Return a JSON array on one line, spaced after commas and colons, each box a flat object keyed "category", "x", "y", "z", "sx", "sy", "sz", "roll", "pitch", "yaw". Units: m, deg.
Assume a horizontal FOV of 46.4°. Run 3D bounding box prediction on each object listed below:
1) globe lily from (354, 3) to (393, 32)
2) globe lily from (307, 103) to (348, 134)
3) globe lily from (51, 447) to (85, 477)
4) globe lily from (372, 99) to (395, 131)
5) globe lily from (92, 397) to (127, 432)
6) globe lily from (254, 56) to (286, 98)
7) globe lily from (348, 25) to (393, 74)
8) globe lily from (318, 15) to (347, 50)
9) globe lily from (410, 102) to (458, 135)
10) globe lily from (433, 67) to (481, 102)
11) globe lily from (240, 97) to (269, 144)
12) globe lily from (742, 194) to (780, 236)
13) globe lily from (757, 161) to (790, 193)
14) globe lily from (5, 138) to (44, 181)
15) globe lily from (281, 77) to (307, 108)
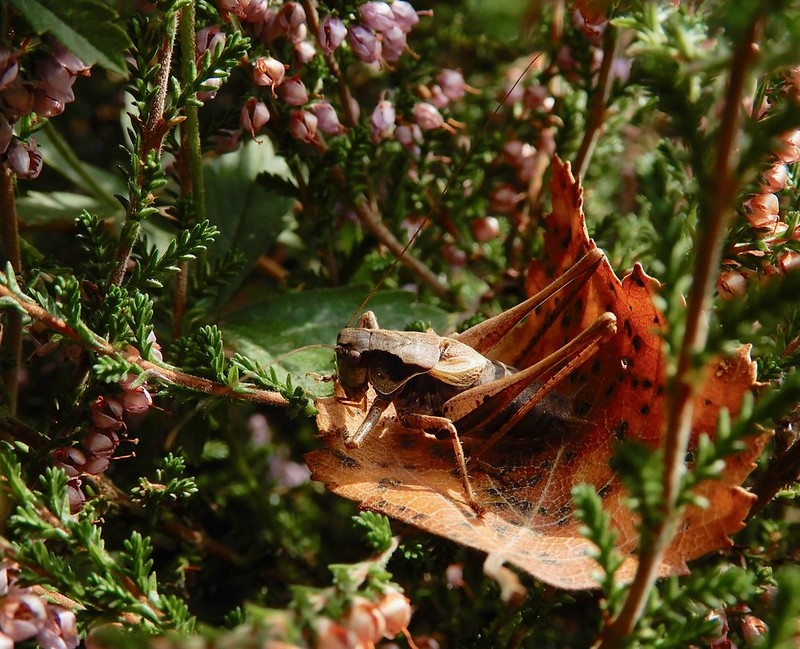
[{"category": "globe lily", "x": -0.049, "y": -0.612, "z": 1.845, "sx": 0.079, "sy": 0.056, "sz": 0.034, "roll": 11, "pitch": 21, "yaw": -17}, {"category": "globe lily", "x": -0.156, "y": -0.430, "z": 1.937, "sx": 0.066, "sy": 0.031, "sz": 0.049, "roll": 29, "pitch": 38, "yaw": -23}, {"category": "globe lily", "x": -0.576, "y": 0.235, "z": 1.614, "sx": 0.045, "sy": 0.042, "sz": 0.047, "roll": 32, "pitch": 25, "yaw": 34}, {"category": "globe lily", "x": -0.039, "y": -0.446, "z": 1.988, "sx": 0.052, "sy": 0.063, "sz": 0.032, "roll": 21, "pitch": -13, "yaw": 1}, {"category": "globe lily", "x": -0.513, "y": 0.159, "z": 1.629, "sx": 0.060, "sy": 0.067, "sz": 0.034, "roll": 7, "pitch": 22, "yaw": -25}, {"category": "globe lily", "x": -0.255, "y": -0.472, "z": 1.778, "sx": 0.049, "sy": 0.050, "sz": 0.063, "roll": 1, "pitch": 32, "yaw": -42}, {"category": "globe lily", "x": -0.066, "y": -0.556, "z": 1.898, "sx": 0.075, "sy": 0.039, "sz": 0.047, "roll": 17, "pitch": 30, "yaw": -20}, {"category": "globe lily", "x": -0.136, "y": -0.563, "z": 1.797, "sx": 0.046, "sy": 0.057, "sz": 0.060, "roll": 8, "pitch": 24, "yaw": 19}, {"category": "globe lily", "x": 0.074, "y": -0.452, "z": 2.053, "sx": 0.084, "sy": 0.040, "sz": 0.062, "roll": 14, "pitch": 63, "yaw": -15}, {"category": "globe lily", "x": 0.128, "y": -0.572, "z": 2.259, "sx": 0.102, "sy": 0.035, "sz": 0.082, "roll": 14, "pitch": 43, "yaw": -26}, {"category": "globe lily", "x": -0.287, "y": -0.395, "z": 1.784, "sx": 0.042, "sy": 0.078, "sz": 0.027, "roll": -4, "pitch": 10, "yaw": 3}, {"category": "globe lily", "x": 0.663, "y": -0.210, "z": 1.712, "sx": 0.070, "sy": 0.071, "sz": 0.037, "roll": 21, "pitch": 21, "yaw": 11}, {"category": "globe lily", "x": 0.677, "y": -0.265, "z": 1.686, "sx": 0.043, "sy": 0.055, "sz": 0.026, "roll": 21, "pitch": 21, "yaw": 8}, {"category": "globe lily", "x": -0.649, "y": -0.286, "z": 1.609, "sx": 0.043, "sy": 0.038, "sz": 0.075, "roll": -7, "pitch": 74, "yaw": -35}, {"category": "globe lily", "x": -0.218, "y": -0.468, "z": 1.877, "sx": 0.052, "sy": 0.041, "sz": 0.040, "roll": 39, "pitch": 47, "yaw": 21}]
